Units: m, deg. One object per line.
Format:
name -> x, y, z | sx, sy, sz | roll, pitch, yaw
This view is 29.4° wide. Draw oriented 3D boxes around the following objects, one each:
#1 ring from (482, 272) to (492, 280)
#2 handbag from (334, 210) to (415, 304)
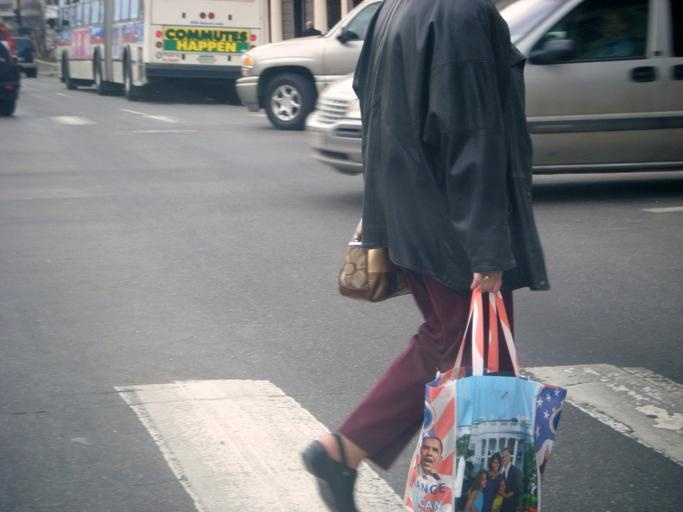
ring -> 0.620, 0.080, 5.478 | 0.026, 0.027, 0.032 | 3, 21, 4
handbag -> 0.107, -0.014, 6.003 | 0.204, 0.368, 0.400 | 4, 10, 19
